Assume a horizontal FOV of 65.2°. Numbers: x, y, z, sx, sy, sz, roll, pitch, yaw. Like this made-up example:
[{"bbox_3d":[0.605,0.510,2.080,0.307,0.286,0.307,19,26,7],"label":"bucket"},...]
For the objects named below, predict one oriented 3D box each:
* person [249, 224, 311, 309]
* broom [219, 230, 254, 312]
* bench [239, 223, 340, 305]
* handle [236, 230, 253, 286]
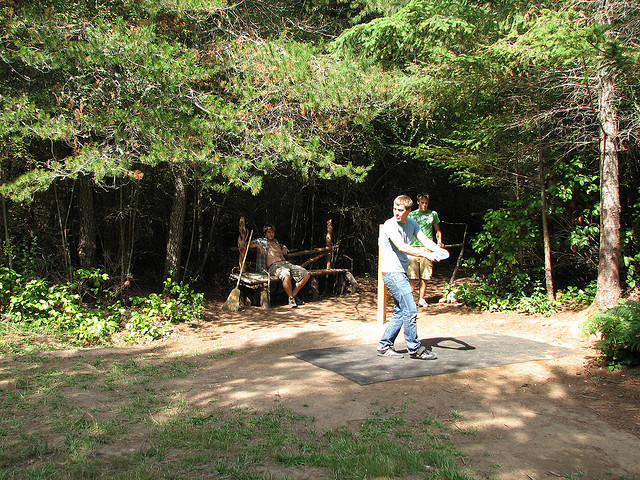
[{"bbox_3d":[-0.860,0.528,11.179,1.294,1.749,1.180,6,10,42],"label":"person"},{"bbox_3d":[-1.836,0.652,10.754,0.762,1.702,0.590,-4,10,-23],"label":"broom"},{"bbox_3d":[-0.575,0.623,11.852,2.747,1.533,0.997,-5,7,-35],"label":"bench"},{"bbox_3d":[-1.654,0.513,10.803,0.253,1.470,0.105,15,13,5],"label":"handle"}]
